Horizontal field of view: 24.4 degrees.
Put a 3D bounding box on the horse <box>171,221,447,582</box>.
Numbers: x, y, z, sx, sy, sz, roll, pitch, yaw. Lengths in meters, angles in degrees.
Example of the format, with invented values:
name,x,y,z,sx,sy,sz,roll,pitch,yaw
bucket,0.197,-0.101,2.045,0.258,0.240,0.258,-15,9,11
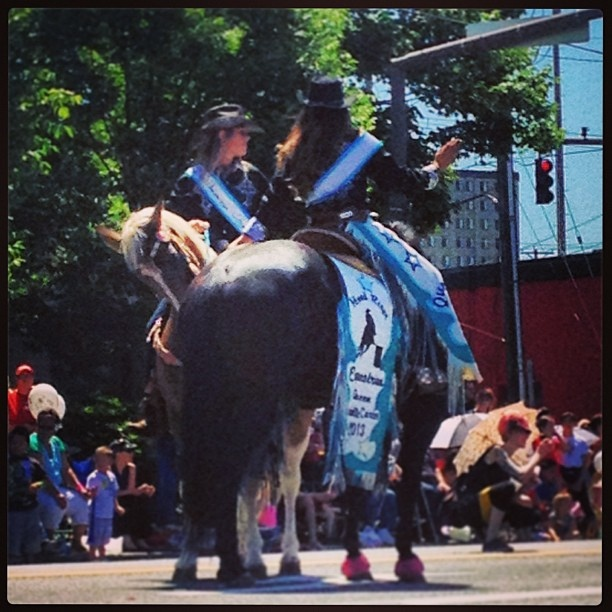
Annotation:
name,x,y,z,sx,sy,sz,roll,pitch,yaw
horse,-0.013,0.399,5.528,0.986,1.411,0.408,-2,-4,-16

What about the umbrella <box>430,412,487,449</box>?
name,x,y,z,sx,sy,sz,roll,pitch,yaw
umbrella,0.620,0.502,5.757,0.150,0.058,0.211,0,21,43

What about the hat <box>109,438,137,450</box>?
name,x,y,z,sx,sy,sz,roll,pitch,yaw
hat,-0.731,0.538,5.591,0.089,0.037,0.051,-2,1,-5

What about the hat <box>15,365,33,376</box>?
name,x,y,z,sx,sy,sz,roll,pitch,yaw
hat,-1.126,0.252,5.616,0.053,0.023,0.050,1,-3,-40

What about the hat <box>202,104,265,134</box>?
name,x,y,z,sx,sy,sz,roll,pitch,yaw
hat,-0.323,-0.768,5.812,0.178,0.056,0.146,-11,-9,31
